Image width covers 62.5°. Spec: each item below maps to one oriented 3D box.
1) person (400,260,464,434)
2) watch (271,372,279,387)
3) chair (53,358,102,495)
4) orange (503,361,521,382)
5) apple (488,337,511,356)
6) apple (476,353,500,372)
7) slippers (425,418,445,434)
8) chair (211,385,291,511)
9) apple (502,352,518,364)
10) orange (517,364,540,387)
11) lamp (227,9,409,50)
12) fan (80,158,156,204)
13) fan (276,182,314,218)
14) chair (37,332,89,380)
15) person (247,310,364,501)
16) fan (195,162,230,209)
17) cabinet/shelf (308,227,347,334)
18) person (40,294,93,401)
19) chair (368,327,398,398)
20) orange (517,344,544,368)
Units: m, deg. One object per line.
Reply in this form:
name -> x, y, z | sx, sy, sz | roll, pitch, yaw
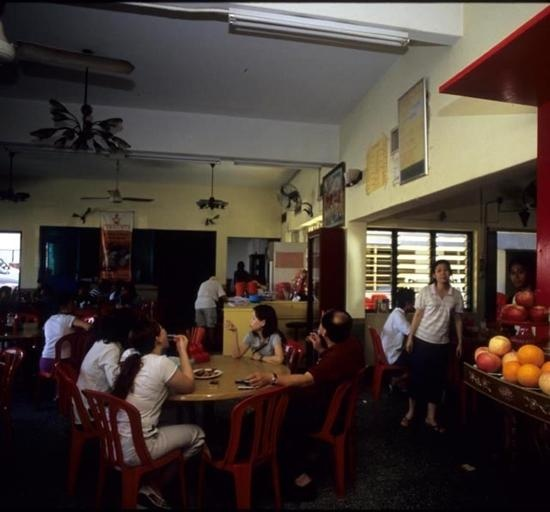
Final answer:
person -> 1.545, 0.831, 4.407 | 0.528, 1.551, 0.636 | 2, 5, 24
watch -> -0.002, 0.848, 3.108 | 0.041, 0.076, 0.063 | 2, 0, -12
chair -> -1.323, 1.280, 3.426 | 0.519, 0.878, 0.467 | -3, -11, -17
orange -> 1.343, 0.655, 2.579 | 0.082, 0.118, 0.090 | 10, -8, 4
apple -> 1.368, 0.546, 2.761 | 0.105, 0.123, 0.114 | -3, -6, -5
apple -> 1.282, 0.634, 2.725 | 0.097, 0.111, 0.109 | 4, 5, 2
slippers -> 1.483, 1.583, 4.193 | 0.110, 0.042, 0.199 | -1, 6, -20
chair -> -0.144, 1.257, 3.040 | 0.473, 0.887, 0.598 | 1, 5, 11
apple -> 1.377, 0.593, 2.653 | 0.057, 0.068, 0.061 | -4, 0, -18
orange -> 1.386, 0.660, 2.505 | 0.096, 0.120, 0.112 | -3, -22, 15
lamp -> 0.357, -1.776, 3.523 | 1.426, 0.167, 0.176 | -1, 5, -13
fan -> -3.245, -1.299, 9.537 | 1.146, 1.025, 1.157 | -4, 5, -35
fan -> 0.407, -1.103, 8.569 | 0.239, 0.326, 0.707 | -19, 24, -29
chair -> -2.067, 1.050, 4.477 | 0.308, 0.559, 0.337 | 0, 0, -28
person -> 0.208, 1.043, 3.397 | 0.714, 1.376, 0.553 | 10, 1, -7
fan -> -1.157, -1.317, 8.432 | 0.487, 0.852, 0.521 | 14, 21, 25
cabinet/shelf -> 0.654, 0.368, 6.104 | 0.259, 1.449, 0.562 | 1, 1, -16
person -> -2.278, 0.884, 4.811 | 0.328, 0.875, 0.493 | 11, 5, 21
chair -> 1.323, 1.204, 5.083 | 0.464, 0.758, 0.414 | 1, -2, 26
orange -> 1.439, 0.559, 2.546 | 0.103, 0.148, 0.113 | 1, 3, -20
